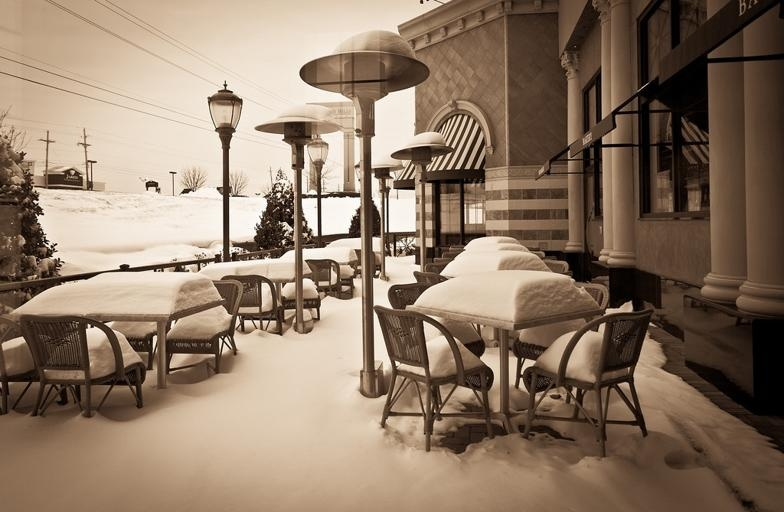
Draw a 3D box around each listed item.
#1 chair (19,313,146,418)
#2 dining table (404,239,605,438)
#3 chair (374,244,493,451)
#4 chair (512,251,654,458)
[{"bbox_3d":[-4.083,1.468,8.016,1.111,1.405,1.493,2,4,3],"label":"chair"},{"bbox_3d":[1.447,0.952,8.375,1.941,2.312,2.096,-2,1,-26],"label":"dining table"},{"bbox_3d":[0.479,1.223,8.245,1.538,2.314,1.574,-3,4,-32],"label":"chair"},{"bbox_3d":[2.367,1.281,7.886,1.548,2.392,1.648,-1,2,-43],"label":"chair"}]
